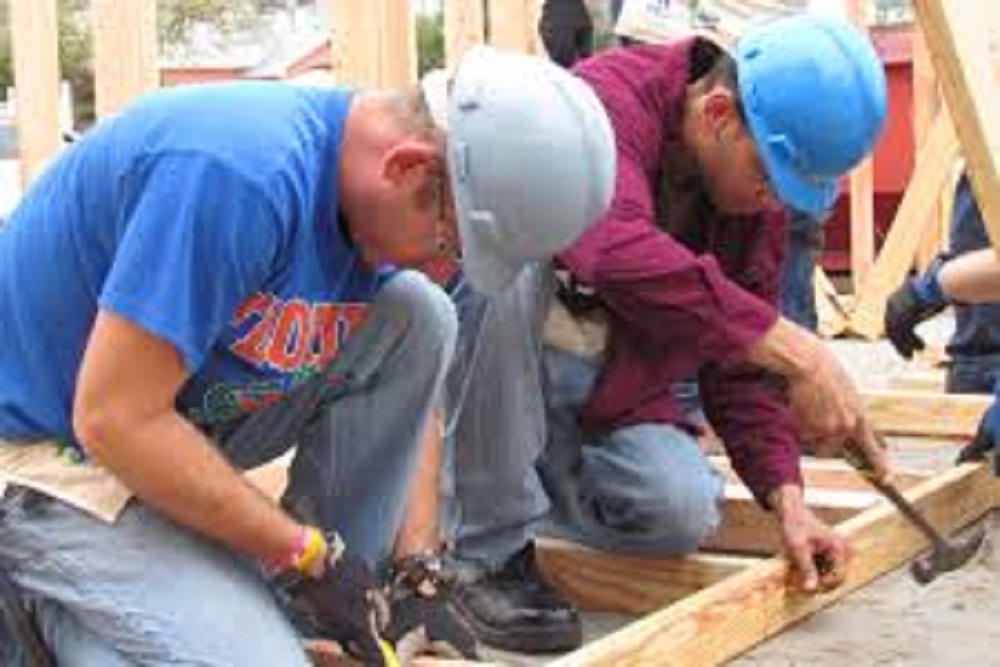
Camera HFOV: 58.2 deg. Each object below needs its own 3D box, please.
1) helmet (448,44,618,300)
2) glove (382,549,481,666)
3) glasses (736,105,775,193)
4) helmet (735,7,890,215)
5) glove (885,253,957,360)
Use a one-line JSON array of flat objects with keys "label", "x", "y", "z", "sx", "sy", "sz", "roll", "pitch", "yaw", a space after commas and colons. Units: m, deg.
[{"label": "helmet", "x": 0.079, "y": -0.282, "z": 1.851, "sx": 0.290, "sy": 0.507, "sz": 0.302, "roll": 0, "pitch": -2, "yaw": 15}, {"label": "glove", "x": -0.158, "y": 0.627, "z": 2.035, "sx": 0.169, "sy": 0.258, "sz": 0.101, "roll": 18, "pitch": -39, "yaw": -42}, {"label": "glasses", "x": 0.643, "y": -0.450, "z": 2.285, "sx": 0.069, "sy": 0.243, "sz": 0.089, "roll": -1, "pitch": 1, "yaw": 2}, {"label": "helmet", "x": 0.777, "y": -0.581, "z": 2.224, "sx": 0.376, "sy": 0.498, "sz": 0.239, "roll": -25, "pitch": 7, "yaw": -36}, {"label": "glove", "x": 1.231, "y": -0.057, "z": 2.757, "sx": 0.131, "sy": 0.371, "sz": 0.151, "roll": -9, "pitch": 41, "yaw": -46}]
